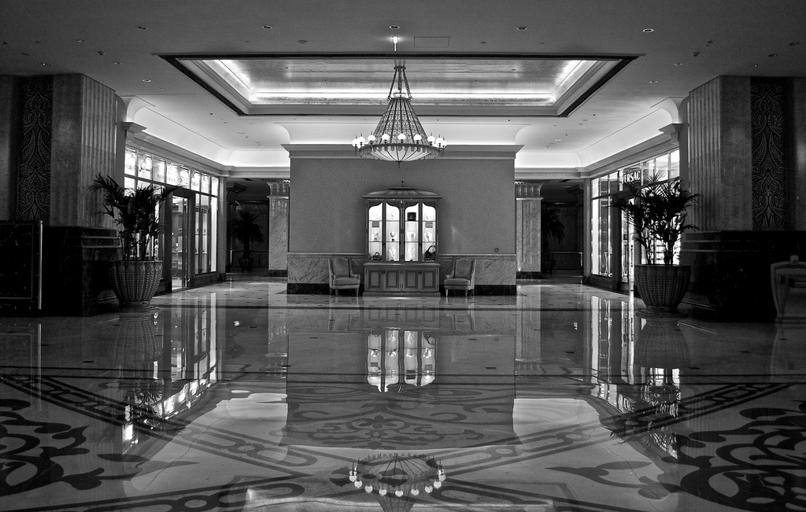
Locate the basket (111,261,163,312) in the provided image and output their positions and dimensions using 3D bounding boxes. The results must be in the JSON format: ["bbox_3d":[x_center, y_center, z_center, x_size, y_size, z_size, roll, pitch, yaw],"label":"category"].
[{"bbox_3d":[-5.796,0.617,12.677,1.103,0.914,1.102,1,-3,-41],"label":"basket"}]

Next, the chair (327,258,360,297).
[{"bbox_3d":[-1.664,0.585,16.358,0.835,0.928,0.821,0,8,-13],"label":"chair"}]

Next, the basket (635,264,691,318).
[{"bbox_3d":[5.461,0.728,12.675,1.211,0.916,1.132,-3,-8,17],"label":"basket"}]

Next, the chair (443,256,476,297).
[{"bbox_3d":[1.585,0.604,16.355,0.812,0.880,0.817,0,4,13],"label":"chair"}]

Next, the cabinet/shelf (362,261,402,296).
[{"bbox_3d":[-0.550,0.664,16.252,1.053,0.786,0.364,0,-4,0],"label":"cabinet/shelf"}]

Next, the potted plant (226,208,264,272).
[{"bbox_3d":[-8.127,-0.942,30.183,1.737,3.113,0.812,-3,13,-13],"label":"potted plant"}]

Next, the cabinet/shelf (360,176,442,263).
[{"bbox_3d":[-0.092,-0.901,16.536,2.779,2.625,1.116,0,-1,-3],"label":"cabinet/shelf"}]

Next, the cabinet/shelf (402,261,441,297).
[{"bbox_3d":[0.650,0.687,16.506,1.293,0.949,0.761,-2,-5,26],"label":"cabinet/shelf"}]
